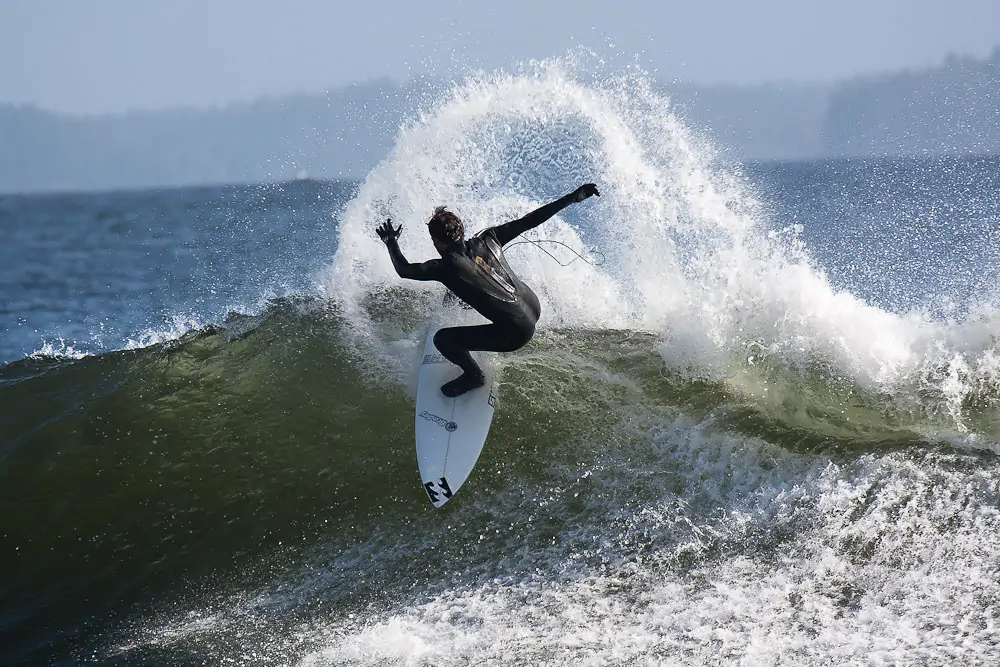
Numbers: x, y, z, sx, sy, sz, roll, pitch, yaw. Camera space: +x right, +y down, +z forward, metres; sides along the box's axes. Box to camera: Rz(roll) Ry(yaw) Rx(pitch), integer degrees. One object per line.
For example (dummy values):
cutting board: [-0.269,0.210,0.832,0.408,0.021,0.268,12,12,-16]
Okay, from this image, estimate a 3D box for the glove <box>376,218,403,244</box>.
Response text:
glove: [-2.011,-1.882,21.381,0.387,0.407,0.312,-22,19,-5]
